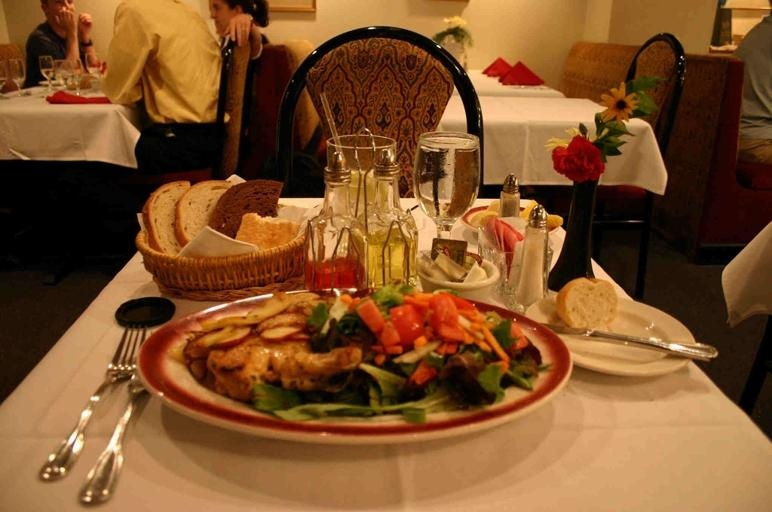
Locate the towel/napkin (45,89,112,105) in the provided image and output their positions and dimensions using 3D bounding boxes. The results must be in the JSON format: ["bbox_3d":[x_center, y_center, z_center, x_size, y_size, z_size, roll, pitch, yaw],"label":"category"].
[{"bbox_3d":[-1.737,-0.877,3.135,0.291,0.051,0.202,-6,22,-29],"label":"towel/napkin"}]

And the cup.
[{"bbox_3d":[-0.052,-0.198,1.179,0.173,0.205,0.178,0,15,0],"label":"cup"}]

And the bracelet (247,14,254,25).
[{"bbox_3d":[-0.835,-1.433,3.382,0.046,0.060,0.290,-6,30,-12],"label":"bracelet"}]

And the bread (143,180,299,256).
[{"bbox_3d":[-0.436,-0.131,1.300,0.236,0.066,0.226,-16,54,-45],"label":"bread"}]
